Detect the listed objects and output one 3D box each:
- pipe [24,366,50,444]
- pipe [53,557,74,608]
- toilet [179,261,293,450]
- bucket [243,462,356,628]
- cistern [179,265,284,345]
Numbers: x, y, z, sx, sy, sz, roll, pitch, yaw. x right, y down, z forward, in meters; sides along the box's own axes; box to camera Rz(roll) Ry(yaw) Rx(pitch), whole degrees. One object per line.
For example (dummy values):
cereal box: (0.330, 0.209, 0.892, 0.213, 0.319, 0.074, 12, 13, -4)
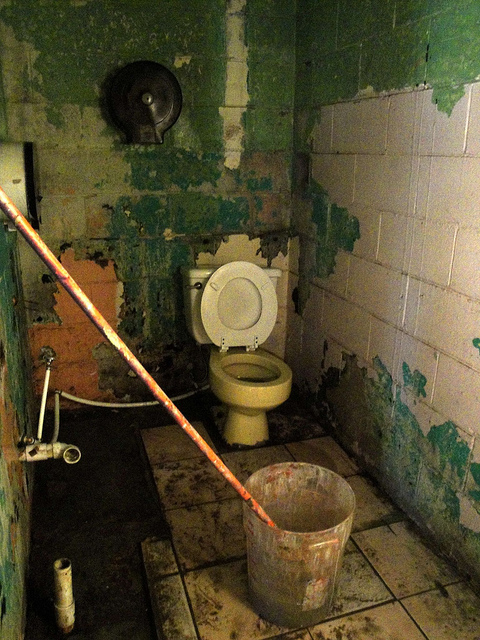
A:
pipe: (-0.919, 0.375, 2.293, 0.089, 0.087, 0.456, 7, 38, -14)
pipe: (-0.527, 0.770, 1.507, 0.056, 0.152, 0.089, -8, 17, -23)
toilet: (0.012, 0.156, 2.641, 0.484, 0.892, 0.760, -4, 19, -16)
bucket: (0.174, 0.716, 1.614, 0.325, 0.384, 0.308, 2, 18, -1)
cistern: (-0.048, -0.122, 2.753, 0.564, 0.542, 0.395, -2, 9, -13)
